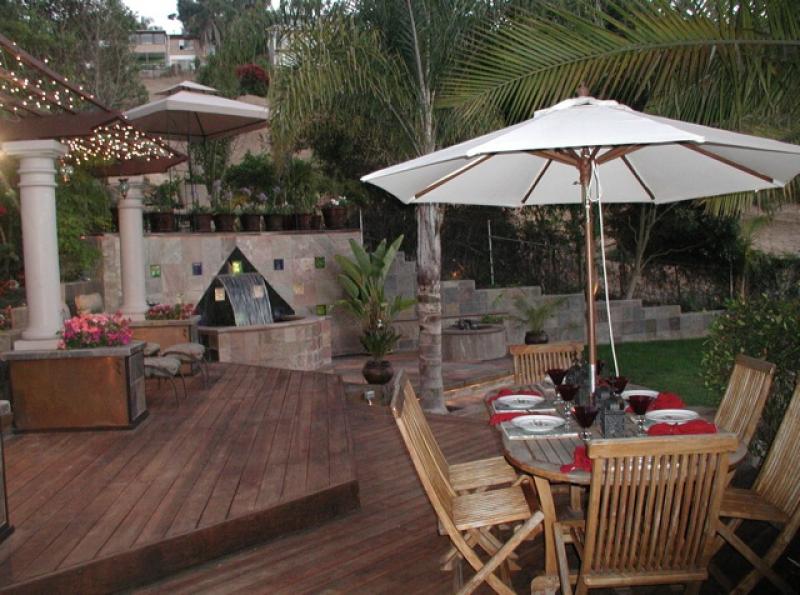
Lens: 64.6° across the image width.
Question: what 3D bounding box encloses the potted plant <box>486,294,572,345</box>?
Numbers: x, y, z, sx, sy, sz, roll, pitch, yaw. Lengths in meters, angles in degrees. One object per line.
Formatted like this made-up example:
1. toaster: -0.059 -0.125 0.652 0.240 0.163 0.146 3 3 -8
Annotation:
1. potted plant: 2.715 0.373 14.019 1.143 0.958 1.253 -2 -2 28

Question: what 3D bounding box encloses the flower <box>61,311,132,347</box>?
1. flower: -3.499 0.381 7.442 0.557 0.389 0.454 1 0 -9
